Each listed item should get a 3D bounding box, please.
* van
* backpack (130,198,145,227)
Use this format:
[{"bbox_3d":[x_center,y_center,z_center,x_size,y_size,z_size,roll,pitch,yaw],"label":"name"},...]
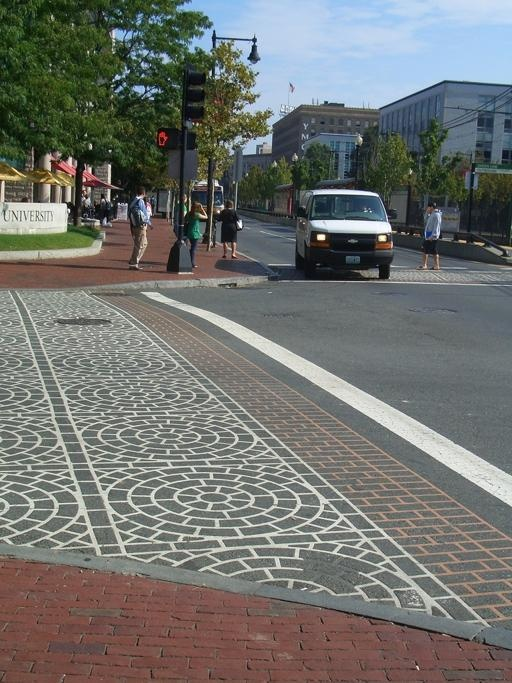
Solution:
[{"bbox_3d":[2.276,-3.105,20.797,1.728,1.474,3.346,0,5,-6],"label":"van"},{"bbox_3d":[-2.981,-3.252,18.500,0.407,0.741,0.540,-8,23,-24],"label":"backpack"}]
